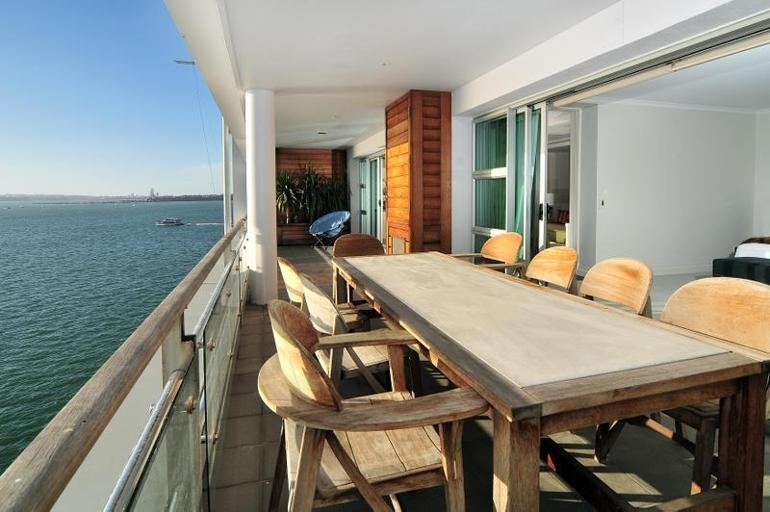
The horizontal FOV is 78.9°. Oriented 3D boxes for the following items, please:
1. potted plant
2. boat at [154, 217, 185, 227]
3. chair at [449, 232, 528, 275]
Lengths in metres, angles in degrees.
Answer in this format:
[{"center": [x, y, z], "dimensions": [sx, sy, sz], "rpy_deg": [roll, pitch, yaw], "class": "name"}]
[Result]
[{"center": [-2.182, -1.683, 13.646], "dimensions": [1.947, 1.610, 1.301], "rpy_deg": [-2, 6, -18], "class": "potted plant"}, {"center": [-16.364, -2.505, 35.371], "dimensions": [1.481, 0.582, 1.037], "rpy_deg": [-2, 6, -16], "class": "boat"}, {"center": [1.045, -0.036, 4.680], "dimensions": [0.476, 0.642, 0.486], "rpy_deg": [-2, 4, -30], "class": "chair"}]
